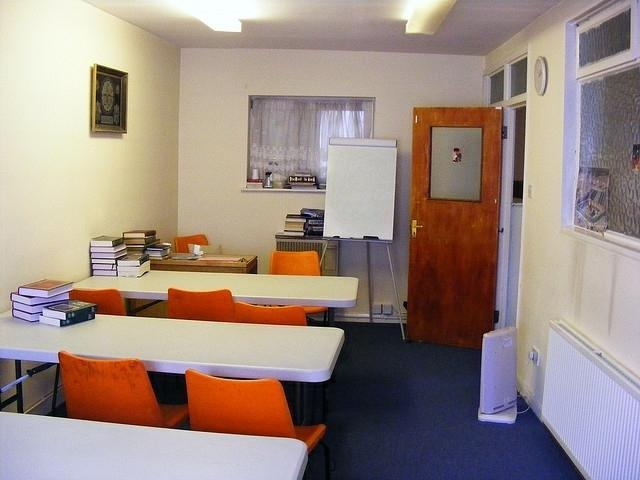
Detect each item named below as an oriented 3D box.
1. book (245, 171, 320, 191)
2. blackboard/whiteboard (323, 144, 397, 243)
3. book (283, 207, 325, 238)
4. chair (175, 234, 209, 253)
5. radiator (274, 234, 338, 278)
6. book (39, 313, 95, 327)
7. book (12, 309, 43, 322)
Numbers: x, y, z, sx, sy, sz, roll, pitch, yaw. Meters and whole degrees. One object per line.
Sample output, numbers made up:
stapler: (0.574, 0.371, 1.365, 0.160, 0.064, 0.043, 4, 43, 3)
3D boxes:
book: (-0.474, -0.754, 6.095, 0.949, 0.255, 0.205, 1, 11, 1)
blackboard/whiteboard: (0.452, -0.554, 5.517, 0.939, 1.475, 0.726, 3, 1, 5)
book: (-0.189, -0.212, 5.786, 0.334, 0.231, 0.356, 2, 6, 9)
chair: (-1.552, 0.019, 5.769, 0.252, 0.343, 0.260, -4, 3, -41)
radiator: (-0.154, 0.021, 5.982, 0.711, 0.766, 0.489, 1, 4, -1)
book: (-1.700, 0.541, 3.273, 0.132, 0.035, 0.142, 4, 7, 14)
book: (-2.021, 0.522, 3.320, 0.112, 0.030, 0.119, 4, 4, 10)
